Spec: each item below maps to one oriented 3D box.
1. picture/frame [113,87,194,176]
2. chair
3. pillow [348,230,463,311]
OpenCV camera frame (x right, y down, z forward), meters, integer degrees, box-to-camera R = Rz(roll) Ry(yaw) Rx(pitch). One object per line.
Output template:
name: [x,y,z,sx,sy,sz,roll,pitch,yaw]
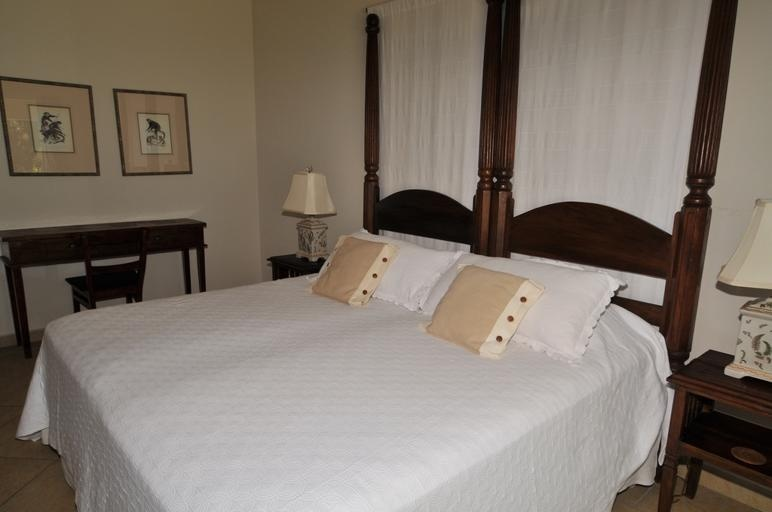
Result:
picture/frame: [-2.164,-1.157,4.658,0.754,0.933,0.059,-10,18,-33]
chair: [-2.256,0.107,4.089,0.452,0.715,0.421,-12,35,-38]
pillow: [0.188,0.119,3.324,0.595,0.428,0.163,18,-13,41]
